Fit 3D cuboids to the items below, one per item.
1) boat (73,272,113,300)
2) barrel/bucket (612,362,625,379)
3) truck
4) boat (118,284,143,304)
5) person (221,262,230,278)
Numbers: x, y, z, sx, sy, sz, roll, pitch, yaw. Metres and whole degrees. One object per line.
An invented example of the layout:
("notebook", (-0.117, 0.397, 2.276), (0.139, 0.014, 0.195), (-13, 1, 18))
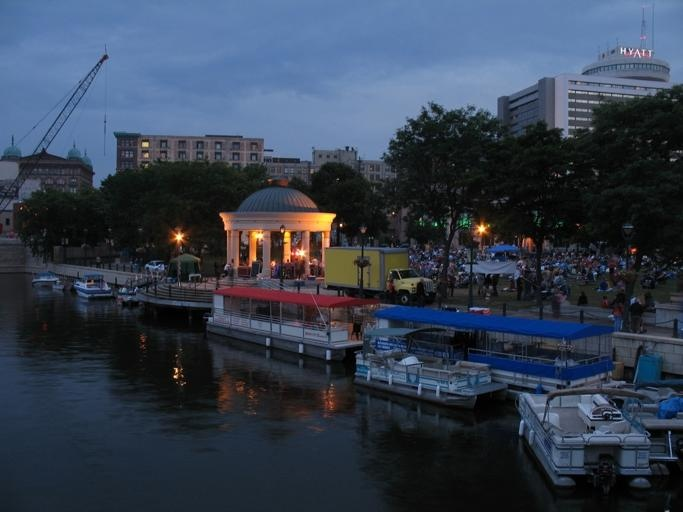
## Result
("boat", (-27.738, 3.448, 105.287), (2.538, 2.199, 5.547), (-1, 8, -29))
("barrel/bucket", (17.090, 7.134, 58.550), (0.822, 1.109, 1.568), (-1, 0, 17))
("truck", (3.036, 1.385, 79.360), (10.565, 5.391, 3.813), (2, 5, 37))
("boat", (-21.818, 4.116, 96.845), (1.508, 1.847, 4.843), (1, 3, -18))
("person", (-10.836, 1.328, 89.183), (0.622, 1.260, 1.854), (2, 1, -10))
